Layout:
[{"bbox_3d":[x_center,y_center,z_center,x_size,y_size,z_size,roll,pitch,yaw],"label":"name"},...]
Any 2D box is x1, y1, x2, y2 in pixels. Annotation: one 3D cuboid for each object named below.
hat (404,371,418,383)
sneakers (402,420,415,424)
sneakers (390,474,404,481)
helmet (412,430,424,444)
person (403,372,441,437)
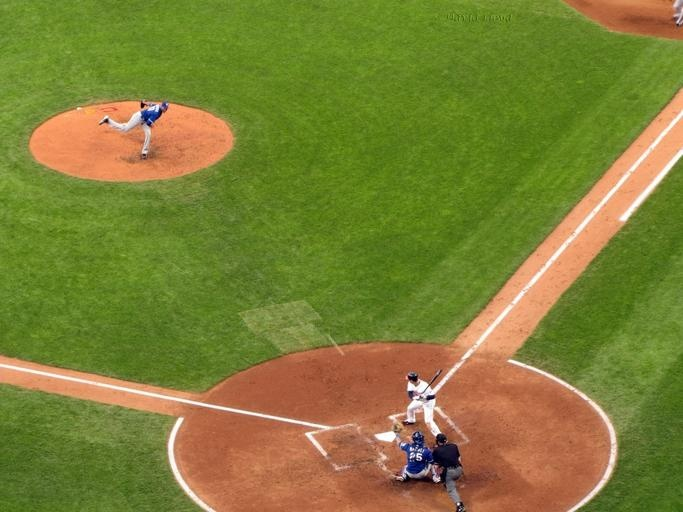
[{"bbox_3d":[2.550,4.482,49.336,0.323,0.379,0.385,6,28,4],"label":"hat"},{"bbox_3d":[2.477,6.247,49.897,0.457,0.158,0.159,4,11,5],"label":"sneakers"},{"bbox_3d":[1.986,7.999,47.952,0.468,0.207,0.164,3,75,37],"label":"sneakers"},{"bbox_3d":[2.720,6.507,47.640,0.351,0.353,0.410,1,13,-5],"label":"helmet"},{"bbox_3d":[2.959,5.662,49.725,1.004,1.932,1.457,-31,52,-25],"label":"person"}]
